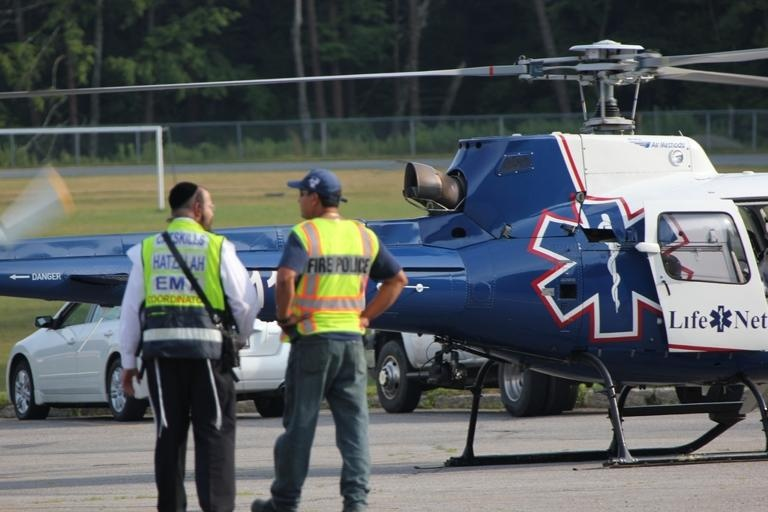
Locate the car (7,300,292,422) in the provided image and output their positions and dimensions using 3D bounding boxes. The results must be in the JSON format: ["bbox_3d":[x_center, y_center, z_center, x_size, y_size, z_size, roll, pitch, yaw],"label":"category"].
[{"bbox_3d":[-4.507,2.058,32.497,2.586,1.713,4.666,1,2,-44],"label":"car"}]

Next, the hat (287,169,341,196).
[{"bbox_3d":[-0.978,-1.088,25.685,0.688,0.293,0.404,6,3,10],"label":"hat"}]
